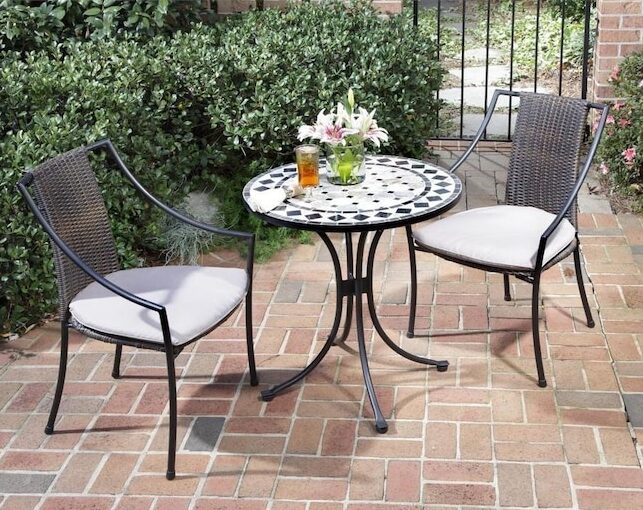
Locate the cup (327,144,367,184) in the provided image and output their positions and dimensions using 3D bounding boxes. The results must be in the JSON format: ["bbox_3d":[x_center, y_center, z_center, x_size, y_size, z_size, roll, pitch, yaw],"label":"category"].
[{"bbox_3d":[0.093,-0.439,2.821,0.231,0.153,0.184,-7,20,-18],"label":"cup"}]

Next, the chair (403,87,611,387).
[{"bbox_3d":[1.049,-0.207,3.121,0.835,1.107,0.883,-44,43,-22],"label":"chair"}]

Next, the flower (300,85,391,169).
[{"bbox_3d":[0.076,-0.579,2.727,0.525,0.299,0.410,5,2,21],"label":"flower"}]

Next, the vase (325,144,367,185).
[{"bbox_3d":[0.125,-0.447,2.816,0.220,0.150,0.173,0,22,5],"label":"vase"}]
